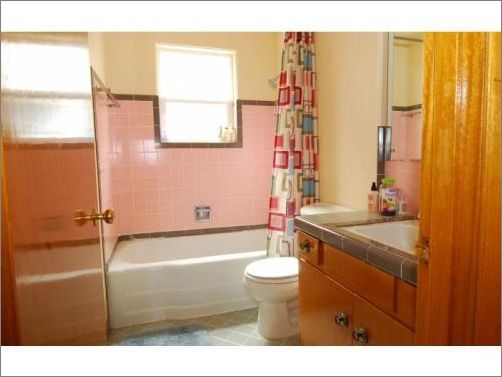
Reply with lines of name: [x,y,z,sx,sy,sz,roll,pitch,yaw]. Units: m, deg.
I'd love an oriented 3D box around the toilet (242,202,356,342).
toilet: [0.282,0.661,2.931,0.980,1.114,0.551,-1,5,-24]
